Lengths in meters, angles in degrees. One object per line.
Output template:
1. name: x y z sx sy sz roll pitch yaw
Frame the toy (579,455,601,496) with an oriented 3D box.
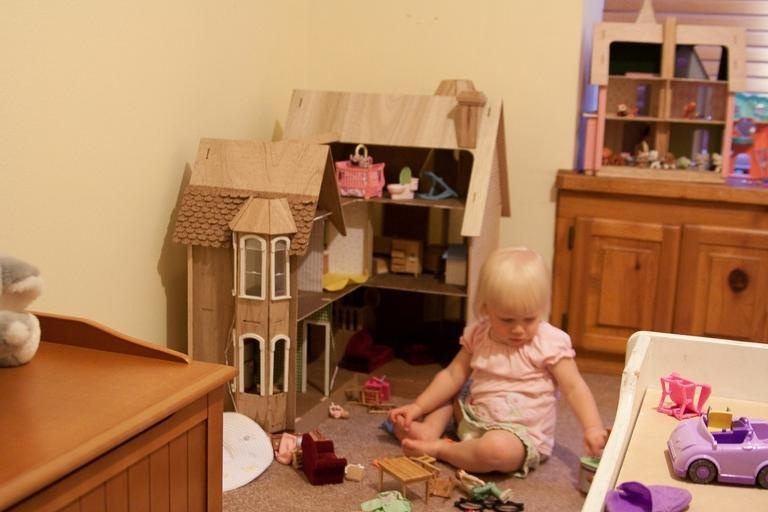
1. toy: 0.810 0.874 2.581 0.065 0.160 0.213 6 9 17

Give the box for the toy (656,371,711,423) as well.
1. toy: 0.847 0.398 1.848 0.134 0.104 0.123 -4 7 -38

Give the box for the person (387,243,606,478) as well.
1. person: 0.494 0.476 2.863 0.903 0.916 0.701 1 9 14
